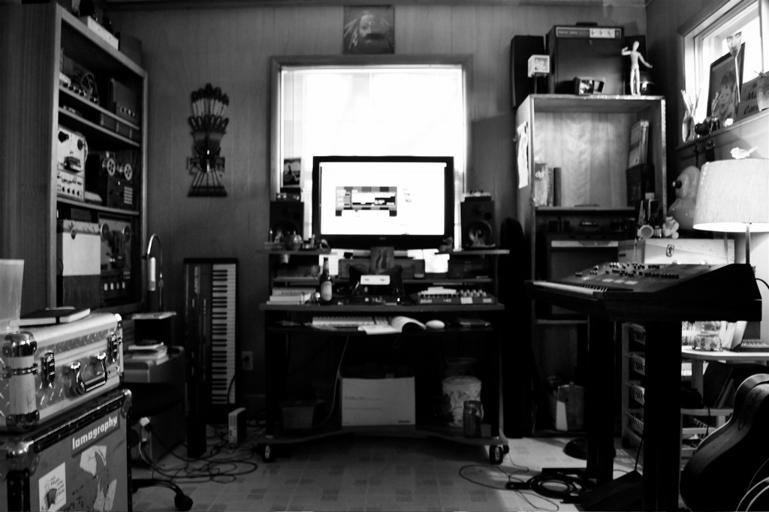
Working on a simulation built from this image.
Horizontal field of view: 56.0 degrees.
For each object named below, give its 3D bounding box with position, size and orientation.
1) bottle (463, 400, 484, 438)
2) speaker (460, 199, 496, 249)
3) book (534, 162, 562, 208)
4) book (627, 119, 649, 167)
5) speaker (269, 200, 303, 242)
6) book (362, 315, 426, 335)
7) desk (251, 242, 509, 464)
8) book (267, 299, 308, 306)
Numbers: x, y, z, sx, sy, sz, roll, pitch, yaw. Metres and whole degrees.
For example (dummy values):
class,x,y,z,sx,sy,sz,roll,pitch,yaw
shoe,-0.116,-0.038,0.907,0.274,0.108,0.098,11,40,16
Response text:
class,x,y,z,sx,sy,sz,roll,pitch,yaw
bottle,0.605,1.117,4.917,0.172,0.241,0.178,0,-9,0
speaker,0.680,-0.245,5.221,0.323,0.385,0.316,0,-2,-33
book,1.221,-0.508,5.589,0.261,0.395,0.393,0,2,4
book,1.959,-0.853,5.501,0.127,0.351,0.296,3,14,12
speaker,-0.707,-0.262,5.350,0.280,0.442,0.227,1,2,-2
book,0.049,0.483,4.796,0.436,0.141,0.243,0,14,0
desk,-0.009,0.678,5.114,1.570,1.506,1.036,0,3,-2
book,-0.672,0.307,4.803,0.244,0.024,0.093,1,14,3
